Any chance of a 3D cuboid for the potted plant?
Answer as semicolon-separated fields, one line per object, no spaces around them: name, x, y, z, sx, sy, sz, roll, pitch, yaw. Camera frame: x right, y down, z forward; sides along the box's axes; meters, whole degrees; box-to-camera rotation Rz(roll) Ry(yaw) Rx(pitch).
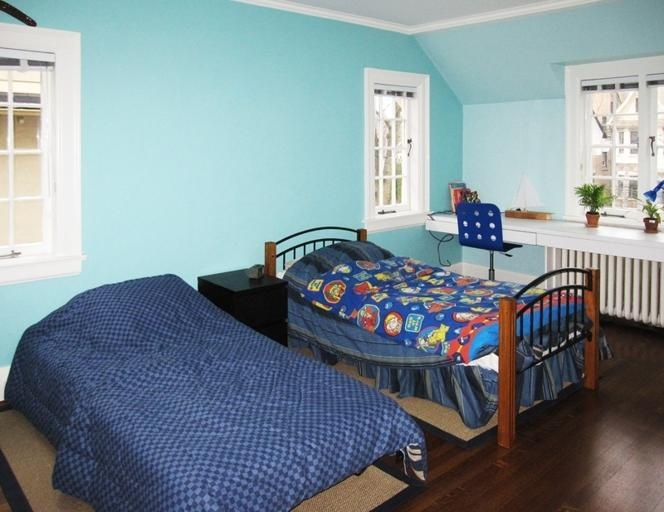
potted plant;2.605;-0.457;4.726;0.785;0.483;0.341;6;10;37
